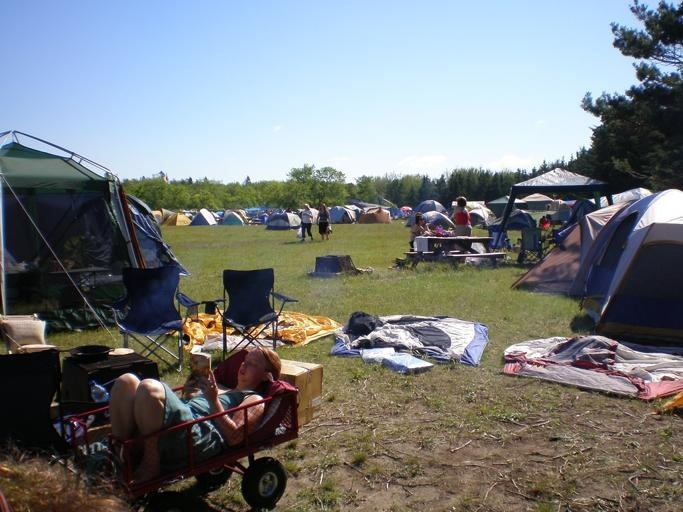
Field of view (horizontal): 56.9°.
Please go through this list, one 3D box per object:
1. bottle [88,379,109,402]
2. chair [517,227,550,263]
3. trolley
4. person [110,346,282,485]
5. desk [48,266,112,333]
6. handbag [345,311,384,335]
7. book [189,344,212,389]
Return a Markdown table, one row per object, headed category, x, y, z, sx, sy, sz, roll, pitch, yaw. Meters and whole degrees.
| category | x | y | z | sx | sy | sz | roll | pitch | yaw |
| --- | --- | --- | --- | --- | --- | --- | --- | --- | --- |
| bottle | -2.206 | 1.234 | 5.722 | 0.132 | 0.178 | 0.180 | 2 | -9 | -28 |
| chair | 4.890 | -0.366 | 15.952 | 0.732 | 1.157 | 0.917 | 3 | 14 | 24 |
| trolley | -1.302 | 1.378 | 5.537 | 1.780 | 1.323 | 1.188 | 0 | 0 | -37 |
| person | -1.250 | 1.266 | 5.364 | 0.765 | 0.955 | 1.712 | 10 | -3 | 36 |
| desk | -3.924 | 0.586 | 9.538 | 1.021 | 0.712 | 1.056 | 0 | 4 | -16 |
| handbag | 0.313 | 0.968 | 9.030 | 0.553 | 0.236 | 0.538 | 0 | 8 | 13 |
| book | -1.177 | 0.949 | 5.209 | 0.179 | 0.275 | 0.054 | 20 | -42 | -36 |
